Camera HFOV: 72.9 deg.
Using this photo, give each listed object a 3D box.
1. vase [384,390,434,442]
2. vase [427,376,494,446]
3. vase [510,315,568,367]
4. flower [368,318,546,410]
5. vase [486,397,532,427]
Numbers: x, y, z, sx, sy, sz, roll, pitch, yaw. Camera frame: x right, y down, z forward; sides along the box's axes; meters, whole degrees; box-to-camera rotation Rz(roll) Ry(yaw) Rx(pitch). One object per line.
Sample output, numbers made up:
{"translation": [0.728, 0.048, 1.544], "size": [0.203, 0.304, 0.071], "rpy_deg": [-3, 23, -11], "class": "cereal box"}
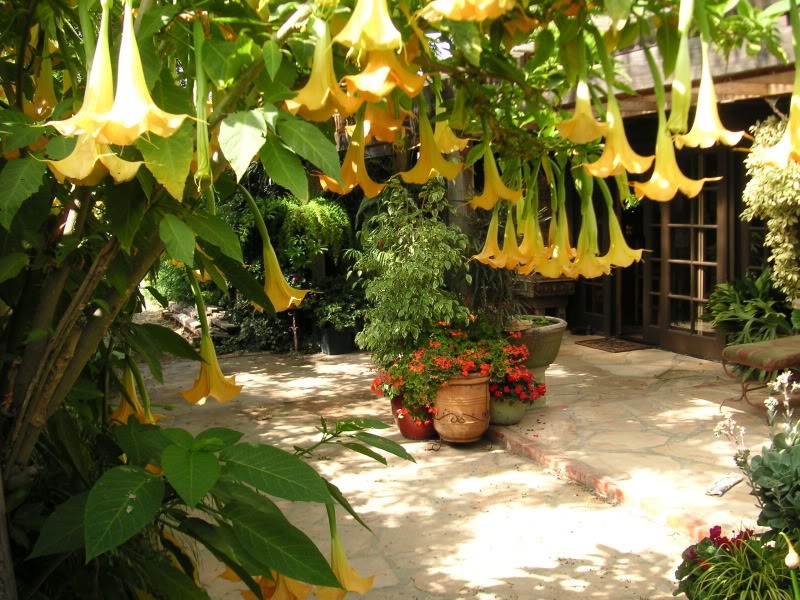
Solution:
{"translation": [0.123, 1.066, 5.062], "size": [0.420, 0.319, 0.421], "rpy_deg": [0, 7, -3], "class": "vase"}
{"translation": [0.704, 1.021, 4.893], "size": [0.653, 0.578, 0.620], "rpy_deg": [6, -21, 2], "class": "vase"}
{"translation": [1.431, 0.396, 5.660], "size": [0.625, 0.396, 0.584], "rpy_deg": [-1, 4, -5], "class": "vase"}
{"translation": [0.545, 0.580, 4.813], "size": [1.056, 0.408, 0.996], "rpy_deg": [-6, 7, -3], "class": "flower"}
{"translation": [1.028, 0.994, 5.033], "size": [0.312, 0.178, 0.289], "rpy_deg": [-2, 5, -21], "class": "vase"}
